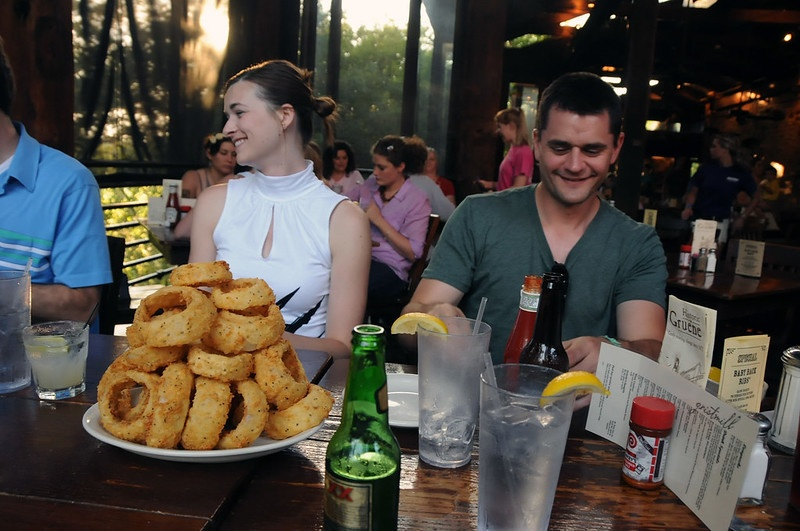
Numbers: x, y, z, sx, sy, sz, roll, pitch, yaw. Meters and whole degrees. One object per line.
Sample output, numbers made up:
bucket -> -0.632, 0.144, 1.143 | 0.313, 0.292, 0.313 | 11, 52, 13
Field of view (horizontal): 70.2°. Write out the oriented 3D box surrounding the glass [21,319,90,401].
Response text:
glass -> -0.903, 0.255, 1.487 | 0.165, 0.172, 0.162 | -5, -4, -20

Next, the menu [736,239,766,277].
menu -> 2.360, -0.043, 3.839 | 0.158, 0.240, 0.142 | 8, 12, 31

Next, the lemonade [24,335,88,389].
lemonade -> -0.857, 0.233, 1.470 | 0.140, 0.150, 0.142 | 9, 10, 43

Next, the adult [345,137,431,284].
adult -> -0.185, -0.379, 4.501 | 0.840, 1.195, 0.776 | 7, 16, 12

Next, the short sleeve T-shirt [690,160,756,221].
short sleeve T-shirt -> 3.306, -0.740, 5.833 | 0.726, 0.685, 0.400 | 8, 13, 31

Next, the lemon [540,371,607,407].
lemon -> 0.343, 0.238, 1.137 | 0.145, 0.049, 0.078 | -6, 5, -5

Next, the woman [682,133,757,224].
woman -> 3.348, -0.897, 5.891 | 0.620, 0.844, 0.254 | 6, 11, 24

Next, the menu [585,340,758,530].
menu -> 0.608, 0.385, 1.257 | 0.059, 0.212, 0.333 | -2, 20, -38

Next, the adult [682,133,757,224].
adult -> 3.348, -0.897, 5.891 | 0.620, 0.844, 0.254 | 6, 11, 24
